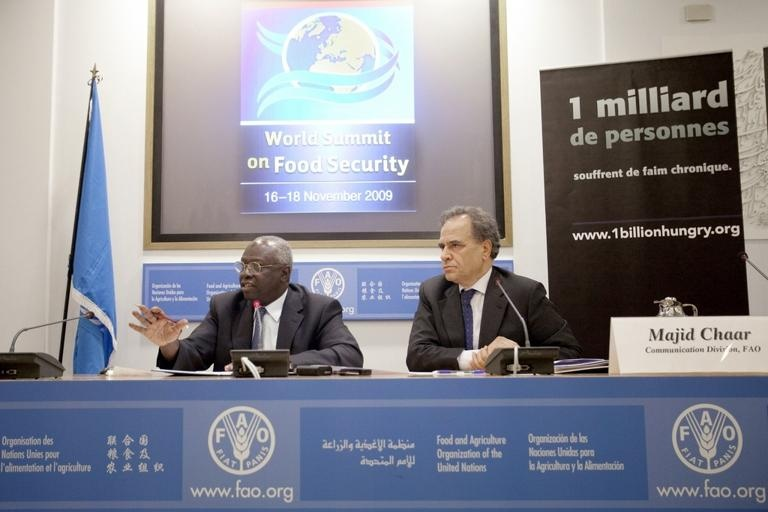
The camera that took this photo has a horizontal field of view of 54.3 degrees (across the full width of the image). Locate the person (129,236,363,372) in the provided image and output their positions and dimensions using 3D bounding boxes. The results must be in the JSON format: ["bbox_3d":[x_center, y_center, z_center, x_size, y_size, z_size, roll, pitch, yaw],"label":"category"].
[{"bbox_3d":[-0.757,0.283,4.376,1.208,0.788,0.696,0,0,-15],"label":"person"}]

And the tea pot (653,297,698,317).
[{"bbox_3d":[1.746,0.306,4.482,0.227,0.092,0.103,7,-13,-25],"label":"tea pot"}]

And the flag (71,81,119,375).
[{"bbox_3d":[-1.992,-0.218,5.143,0.303,2.007,0.288,0,1,42],"label":"flag"}]

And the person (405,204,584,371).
[{"bbox_3d":[0.689,0.223,4.646,0.744,1.249,0.634,-17,-29,36],"label":"person"}]
